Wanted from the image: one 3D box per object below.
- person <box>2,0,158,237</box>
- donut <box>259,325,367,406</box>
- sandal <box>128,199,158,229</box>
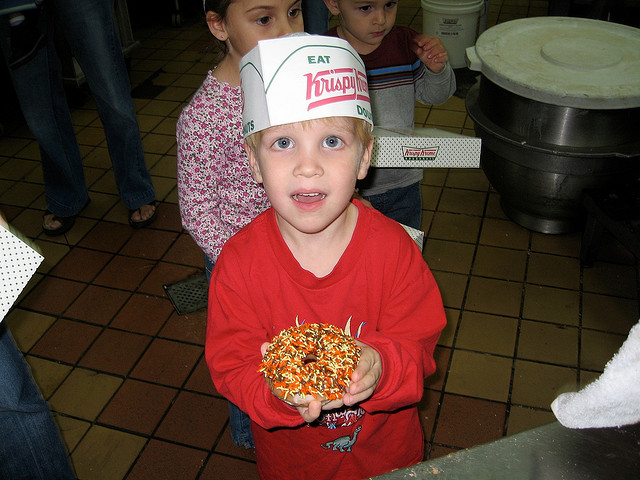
[{"bbox_3d":[-1.787,-0.873,3.526,0.854,1.658,0.619,-8,44,-3],"label":"person"},{"bbox_3d":[-0.018,0.345,1.373,0.268,0.116,0.235,14,49,18],"label":"donut"},{"bbox_3d":[-1.413,-0.190,3.908,0.222,0.092,0.157,-16,46,-10],"label":"sandal"}]
